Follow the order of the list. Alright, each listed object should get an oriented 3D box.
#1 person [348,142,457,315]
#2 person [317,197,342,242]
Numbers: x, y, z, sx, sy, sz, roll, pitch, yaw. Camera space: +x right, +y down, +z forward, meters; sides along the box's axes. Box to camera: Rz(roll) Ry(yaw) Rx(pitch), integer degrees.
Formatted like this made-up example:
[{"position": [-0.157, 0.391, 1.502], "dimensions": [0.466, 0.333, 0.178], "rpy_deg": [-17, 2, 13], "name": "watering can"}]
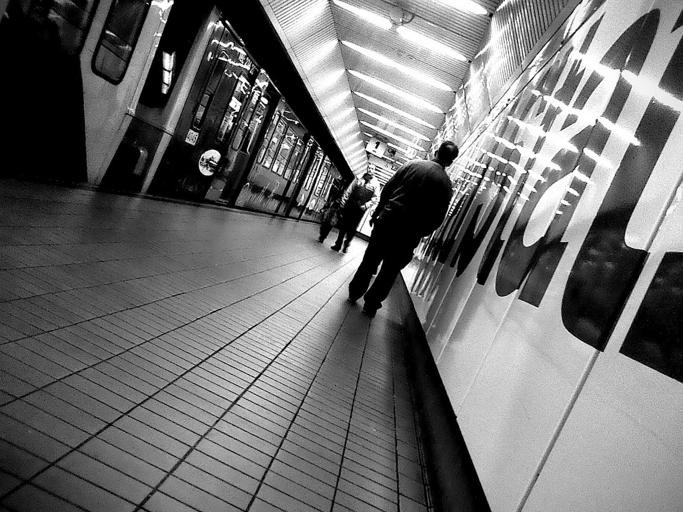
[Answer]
[{"position": [0.720, -0.406, 5.407], "dimensions": [0.734, 2.231, 0.733], "rpy_deg": [35, 23, 18], "name": "person"}, {"position": [-0.419, -1.013, 12.105], "dimensions": [0.431, 1.565, 0.438], "rpy_deg": [16, 43, 9], "name": "person"}]
